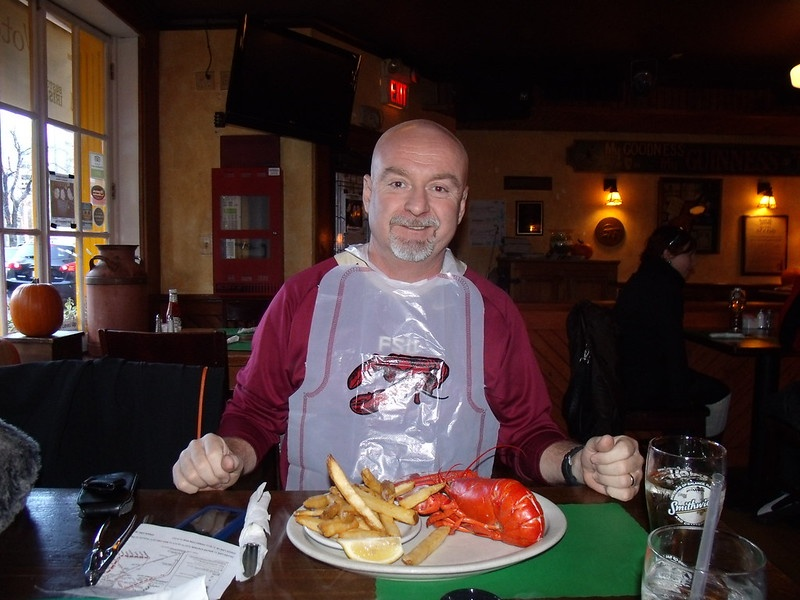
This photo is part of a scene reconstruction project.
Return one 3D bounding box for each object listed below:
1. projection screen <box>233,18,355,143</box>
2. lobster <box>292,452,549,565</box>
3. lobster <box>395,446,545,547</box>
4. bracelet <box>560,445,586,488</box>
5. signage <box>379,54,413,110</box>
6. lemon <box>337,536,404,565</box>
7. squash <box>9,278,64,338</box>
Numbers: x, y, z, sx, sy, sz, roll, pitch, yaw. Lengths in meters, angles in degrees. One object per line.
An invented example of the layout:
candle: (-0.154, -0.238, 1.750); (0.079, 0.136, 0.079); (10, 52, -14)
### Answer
projection screen: (-0.883, -1.749, 5.168); (0.091, 1.060, 1.684); (3, 2, 32)
lobster: (0.051, 0.503, 1.501); (0.398, 0.107, 0.308); (6, 25, -7)
lobster: (0.183, 0.505, 1.614); (0.405, 0.135, 0.264); (5, 5, 37)
bracelet: (0.492, 0.473, 1.825); (0.029, 0.098, 0.096); (-2, 6, 37)
signage: (-0.014, -2.226, 6.560); (0.217, 0.432, 0.511); (5, 10, 23)
lemon: (-0.059, 0.554, 1.411); (0.100, 0.036, 0.067); (13, 23, 2)
squash: (-2.195, 0.051, 3.841); (0.262, 0.324, 0.235); (1, 10, 3)
